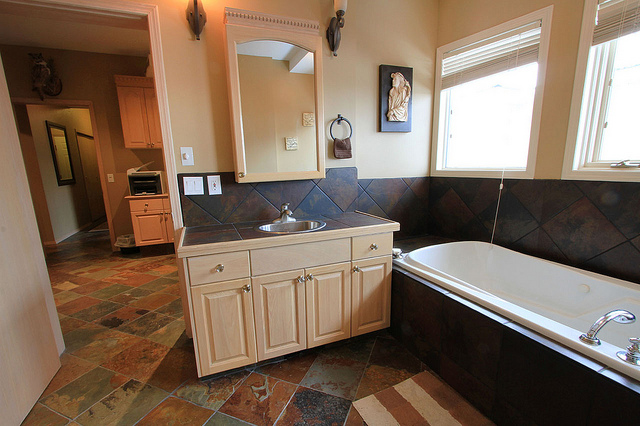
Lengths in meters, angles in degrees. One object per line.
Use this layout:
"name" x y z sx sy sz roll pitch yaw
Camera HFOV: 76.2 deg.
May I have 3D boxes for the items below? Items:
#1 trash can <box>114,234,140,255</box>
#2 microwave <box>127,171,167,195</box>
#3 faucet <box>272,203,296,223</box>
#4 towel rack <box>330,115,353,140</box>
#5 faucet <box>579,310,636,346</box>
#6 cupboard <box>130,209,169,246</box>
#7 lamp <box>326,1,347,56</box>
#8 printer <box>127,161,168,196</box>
"trash can" -2.752 0.449 5.836 0.301 0.203 0.296 -3 12 -18
"microwave" -2.365 -0.418 5.552 0.482 0.336 0.327 -2 7 -18
"faucet" -0.354 -0.001 3.921 0.235 0.180 0.170 -1 3 -28
"towel rack" 0.186 -0.850 4.085 0.189 0.246 0.065 -7 8 -19
"faucet" 2.048 0.813 2.915 0.380 0.229 0.149 -7 13 -20
"cupboard" -2.417 0.085 5.784 0.477 0.638 0.432 -3 38 -19
"lamp" 0.155 -1.775 3.937 0.184 0.462 0.200 -3 13 0
"printer" -2.445 -0.470 5.663 0.428 0.468 0.381 -6 0 -19
